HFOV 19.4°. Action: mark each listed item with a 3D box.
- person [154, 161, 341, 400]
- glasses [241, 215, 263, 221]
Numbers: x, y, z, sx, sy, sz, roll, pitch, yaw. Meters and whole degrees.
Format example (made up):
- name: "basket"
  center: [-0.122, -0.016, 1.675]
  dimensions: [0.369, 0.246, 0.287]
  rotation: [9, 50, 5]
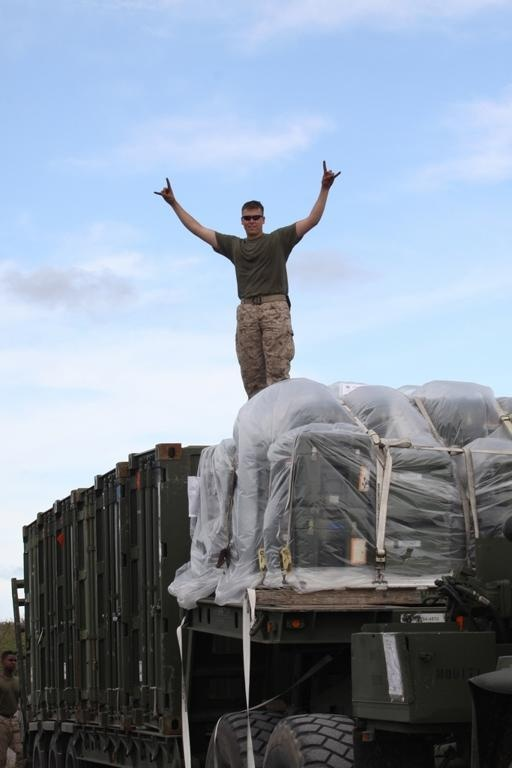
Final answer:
- name: "person"
  center: [0.079, -0.525, 9.204]
  dimensions: [1.202, 1.690, 0.390]
  rotation: [-4, -10, 12]
- name: "glasses"
  center: [-0.029, -1.097, 9.880]
  dimensions: [0.136, 0.040, 0.065]
  rotation: [-6, -5, 0]
